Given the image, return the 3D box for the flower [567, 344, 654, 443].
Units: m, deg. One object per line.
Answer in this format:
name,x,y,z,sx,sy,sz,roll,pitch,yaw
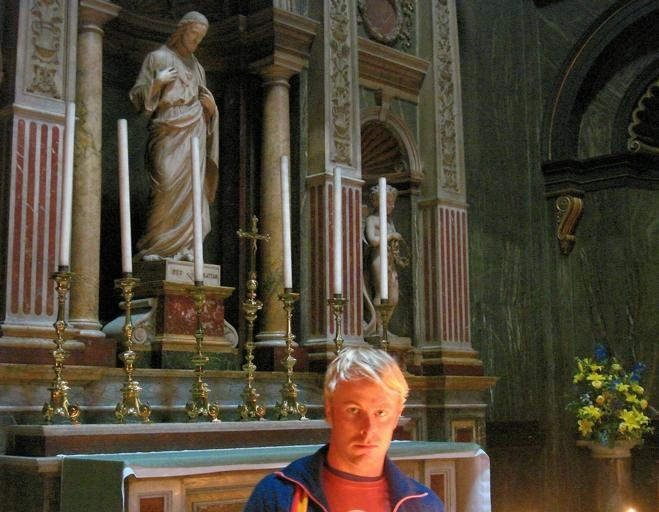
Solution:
flower,2.293,1.132,9.087,0.817,1.066,0.785,0,-12,11
